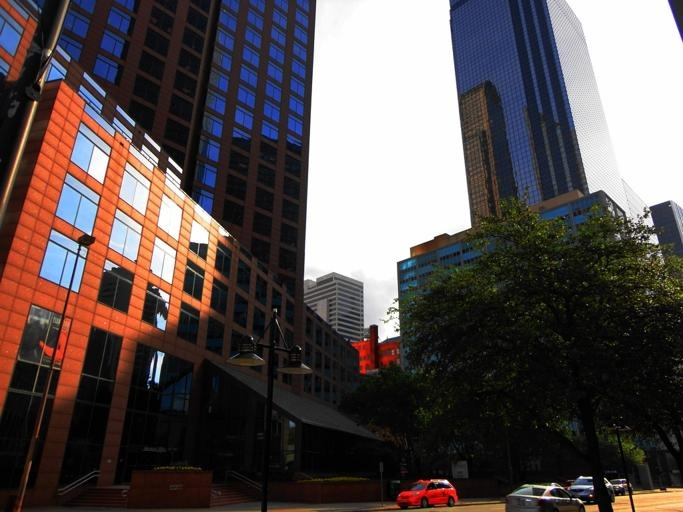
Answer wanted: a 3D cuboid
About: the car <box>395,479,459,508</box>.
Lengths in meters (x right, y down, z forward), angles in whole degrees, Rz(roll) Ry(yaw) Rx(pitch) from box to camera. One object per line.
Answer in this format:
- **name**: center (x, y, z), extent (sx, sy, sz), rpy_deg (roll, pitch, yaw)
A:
- **car**: center (6.562, 17.898, 36.990), extent (5.763, 1.886, 1.405), rpy_deg (20, -34, -38)
